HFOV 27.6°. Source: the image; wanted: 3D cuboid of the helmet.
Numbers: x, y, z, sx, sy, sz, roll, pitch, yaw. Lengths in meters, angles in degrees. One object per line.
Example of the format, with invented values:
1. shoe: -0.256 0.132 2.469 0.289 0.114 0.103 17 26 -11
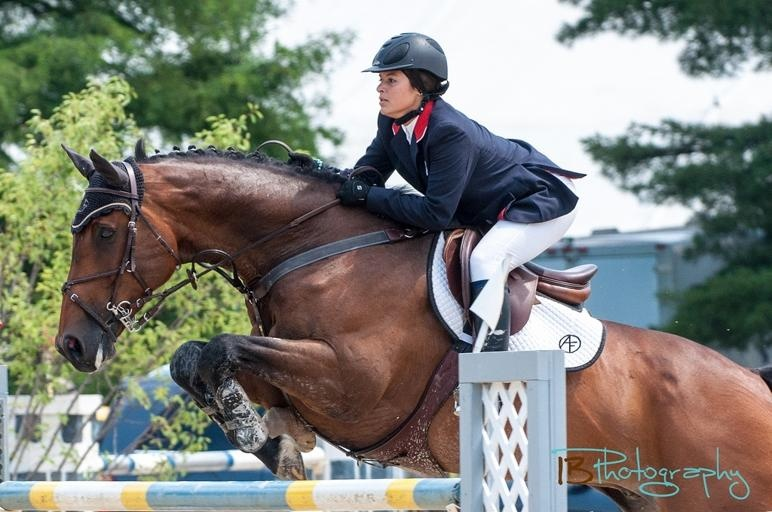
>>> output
1. helmet: 0.151 -1.614 12.780 0.723 0.323 0.504 0 10 -29

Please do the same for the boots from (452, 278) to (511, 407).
1. boots: 0.764 0.808 12.405 0.296 1.280 0.218 15 -20 -21
